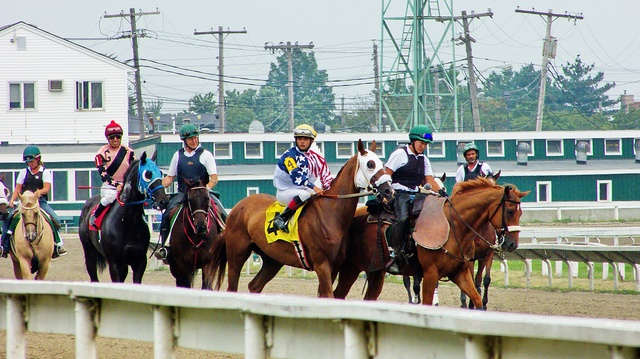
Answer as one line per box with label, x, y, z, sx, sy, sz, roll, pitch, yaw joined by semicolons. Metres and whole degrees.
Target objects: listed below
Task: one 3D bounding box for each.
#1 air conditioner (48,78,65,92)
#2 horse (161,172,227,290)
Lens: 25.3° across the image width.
air conditioner;-20.070;-7.098;109.405;1.468;1.178;0.778;1;-3;-1
horse;-7.649;3.138;87.551;3.179;6.758;3.471;1;1;-12
